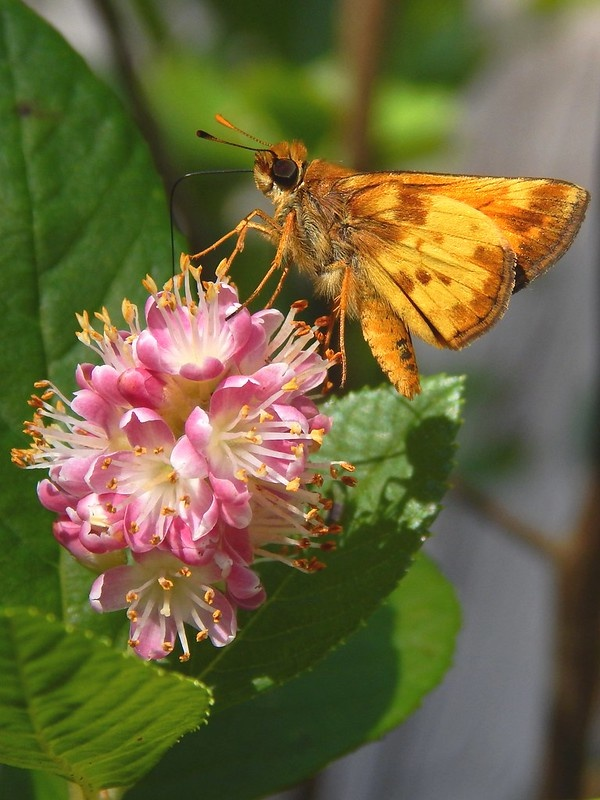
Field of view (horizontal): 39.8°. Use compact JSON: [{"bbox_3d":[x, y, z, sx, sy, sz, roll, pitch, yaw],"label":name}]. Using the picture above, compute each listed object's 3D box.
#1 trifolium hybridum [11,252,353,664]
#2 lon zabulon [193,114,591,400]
[{"bbox_3d":[-0.170,0.077,1.435,0.607,0.368,0.639,-36,72,-10],"label":"trifolium hybridum"},{"bbox_3d":[0.237,-0.363,2.015,0.754,0.683,0.854,-3,27,-9],"label":"lon zabulon"}]
